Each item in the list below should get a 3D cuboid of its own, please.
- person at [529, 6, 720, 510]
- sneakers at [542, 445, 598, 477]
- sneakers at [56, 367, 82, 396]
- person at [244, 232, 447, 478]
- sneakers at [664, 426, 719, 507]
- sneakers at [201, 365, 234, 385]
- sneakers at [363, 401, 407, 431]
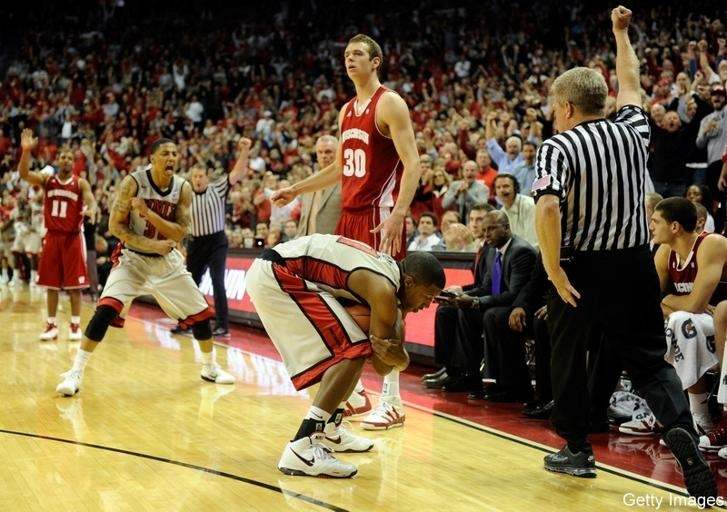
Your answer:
[{"bbox_3d":[1.470,-0.126,3.634,0.906,2.947,0.643,1,0,16],"label":"person"},{"bbox_3d":[1.253,1.254,3.816,0.320,0.169,0.138,0,-5,42],"label":"sneakers"},{"bbox_3d":[-2.515,1.080,5.292,0.198,0.151,0.284,1,0,-22],"label":"sneakers"},{"bbox_3d":[-0.249,0.535,4.319,1.482,1.631,1.085,1,0,-9],"label":"person"},{"bbox_3d":[1.716,1.095,3.332,0.212,0.503,0.181,-5,-14,-42],"label":"sneakers"},{"bbox_3d":[-1.346,1.100,5.786,0.361,0.160,0.138,3,3,41],"label":"sneakers"},{"bbox_3d":[0.162,1.188,4.600,0.365,0.181,0.139,3,-8,-36],"label":"sneakers"}]
